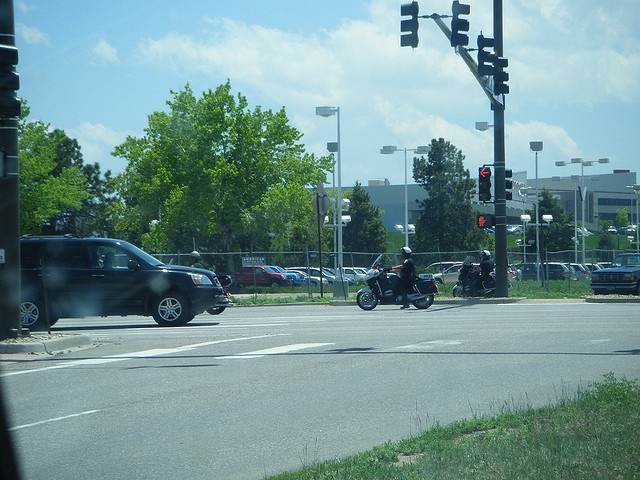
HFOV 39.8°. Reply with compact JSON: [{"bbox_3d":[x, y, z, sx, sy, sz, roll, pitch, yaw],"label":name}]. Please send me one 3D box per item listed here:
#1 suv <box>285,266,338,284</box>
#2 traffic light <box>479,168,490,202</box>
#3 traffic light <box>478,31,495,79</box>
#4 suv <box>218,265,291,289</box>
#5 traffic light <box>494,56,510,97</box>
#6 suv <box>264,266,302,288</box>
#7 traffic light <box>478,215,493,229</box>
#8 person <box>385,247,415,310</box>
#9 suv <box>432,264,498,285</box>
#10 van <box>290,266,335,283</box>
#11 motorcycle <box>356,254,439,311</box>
[{"bbox_3d":[-0.628,2.344,53.682,3.014,1.267,1.462,-1,3,0],"label":"suv"},{"bbox_3d":[5.207,-1.699,27.884,0.406,1.087,0.934,0,4,11],"label":"traffic light"},{"bbox_3d":[4.778,-5.287,25.463,0.468,1.114,2.217,0,4,11],"label":"traffic light"},{"bbox_3d":[-3.299,2.278,49.679,2.924,1.245,1.452,-1,1,11],"label":"suv"},{"bbox_3d":[5.419,-4.718,26.643,0.450,1.595,0.695,4,-35,3],"label":"traffic light"},{"bbox_3d":[-2.120,2.150,50.180,1.993,1.018,0.982,-1,4,3],"label":"suv"},{"bbox_3d":[5.307,-0.564,28.266,0.478,0.430,0.732,0,4,12],"label":"traffic light"},{"bbox_3d":[2.273,1.051,25.113,0.772,1.715,0.802,5,10,42],"label":"person"},{"bbox_3d":[6.808,1.885,46.788,1.965,1.101,1.275,2,-2,-4],"label":"suv"},{"bbox_3d":[-0.557,2.141,53.742,2.791,1.285,1.361,-1,4,-1],"label":"van"},{"bbox_3d":[2.222,1.243,25.798,2.438,1.973,1.216,1,-2,5],"label":"motorcycle"}]
